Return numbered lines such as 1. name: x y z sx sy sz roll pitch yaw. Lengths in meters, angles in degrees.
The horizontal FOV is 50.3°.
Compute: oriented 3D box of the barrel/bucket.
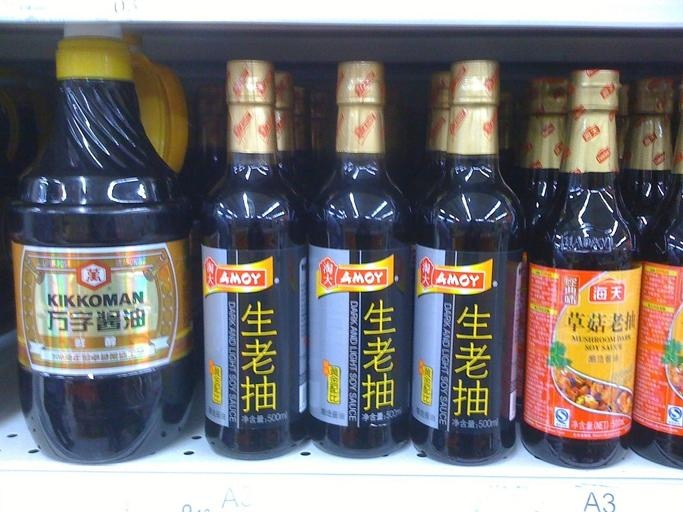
1. barrel/bucket: -0.380 -0.019 1.138 0.287 0.671 0.117 -6 8 -12
